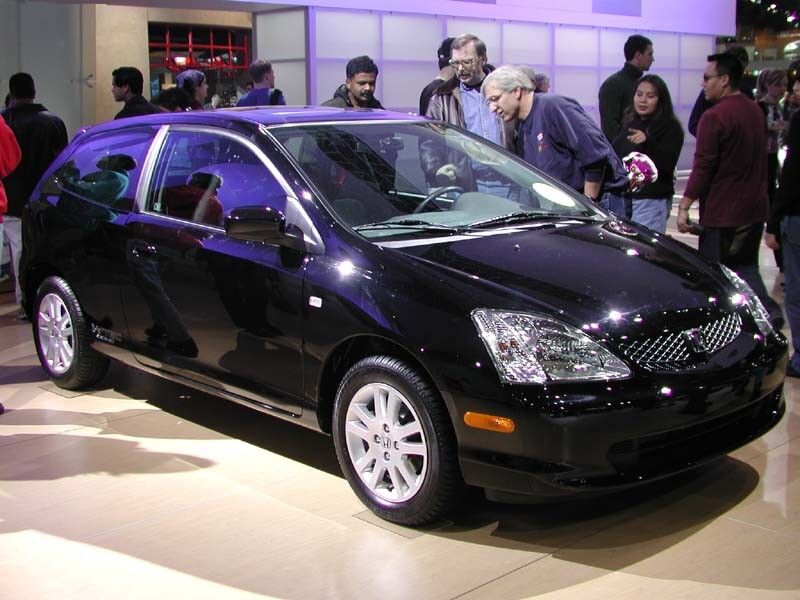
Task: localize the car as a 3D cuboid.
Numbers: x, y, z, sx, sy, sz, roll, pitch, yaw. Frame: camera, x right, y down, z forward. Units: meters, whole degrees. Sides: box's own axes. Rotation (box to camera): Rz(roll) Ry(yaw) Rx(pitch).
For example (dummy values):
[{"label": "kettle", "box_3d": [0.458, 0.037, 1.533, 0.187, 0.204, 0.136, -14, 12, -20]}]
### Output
[{"label": "car", "box_3d": [-0.411, -0.166, 3.649, 4.472, 1.334, 2.267, 14, 20, 37]}]
